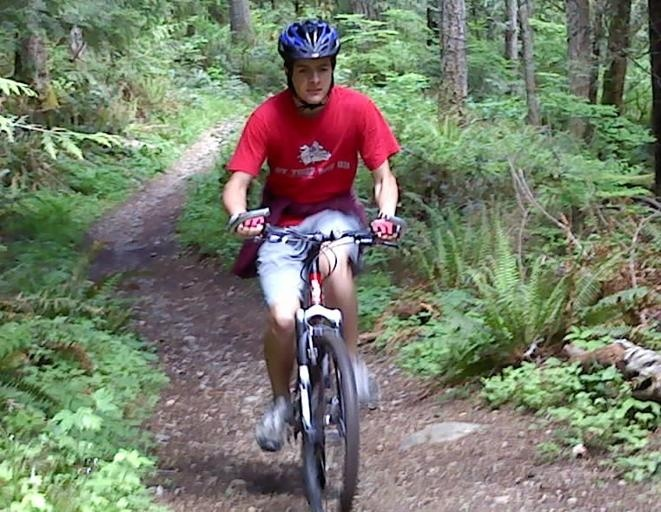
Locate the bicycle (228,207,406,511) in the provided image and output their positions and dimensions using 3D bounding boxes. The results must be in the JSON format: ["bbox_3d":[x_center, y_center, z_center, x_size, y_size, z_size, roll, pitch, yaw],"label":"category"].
[{"bbox_3d":[-0.124,0.724,3.217,0.864,2.096,0.908,-2,20,7],"label":"bicycle"}]

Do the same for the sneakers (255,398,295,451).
[{"bbox_3d":[-0.455,1.154,3.518,0.291,0.173,0.479,2,25,-6],"label":"sneakers"}]
